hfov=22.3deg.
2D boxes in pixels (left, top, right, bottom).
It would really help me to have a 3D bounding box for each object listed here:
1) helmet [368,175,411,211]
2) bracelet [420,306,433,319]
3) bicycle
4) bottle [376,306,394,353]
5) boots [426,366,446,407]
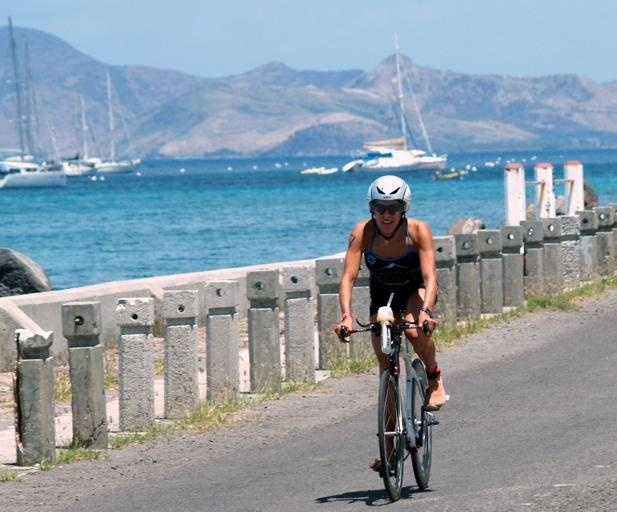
[{"bbox_3d":[0.786,-0.604,15.432,0.301,0.386,0.317,1,1,7],"label":"helmet"},{"bbox_3d":[1.145,0.549,15.155,0.060,0.108,0.091,-45,0,-7],"label":"bracelet"},{"bbox_3d":[0.886,1.386,15.262,0.717,1.830,1.235,1,12,5],"label":"bicycle"},{"bbox_3d":[0.719,0.739,15.038,0.144,0.476,0.345,1,12,2],"label":"bottle"},{"bbox_3d":[1.272,1.305,15.626,0.145,0.201,0.464,-12,18,12],"label":"boots"}]
